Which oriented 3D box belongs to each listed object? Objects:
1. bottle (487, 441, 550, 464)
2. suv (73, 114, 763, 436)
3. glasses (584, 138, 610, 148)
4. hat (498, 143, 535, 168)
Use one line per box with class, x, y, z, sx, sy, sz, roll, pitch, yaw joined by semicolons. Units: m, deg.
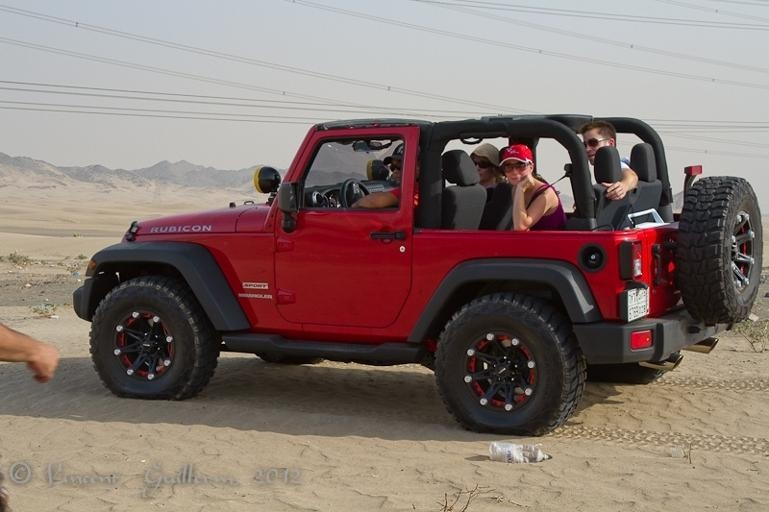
bottle;1.183;1.700;5.372;0.549;0.119;0.321;0;4;-8
suv;0.121;0.066;7.123;7.100;2.439;3.382;3;2;24
glasses;2.366;-1.239;6.832;0.154;0.035;0.134;2;-3;-25
hat;1.295;-0.993;6.039;0.300;0.197;0.187;1;4;8
